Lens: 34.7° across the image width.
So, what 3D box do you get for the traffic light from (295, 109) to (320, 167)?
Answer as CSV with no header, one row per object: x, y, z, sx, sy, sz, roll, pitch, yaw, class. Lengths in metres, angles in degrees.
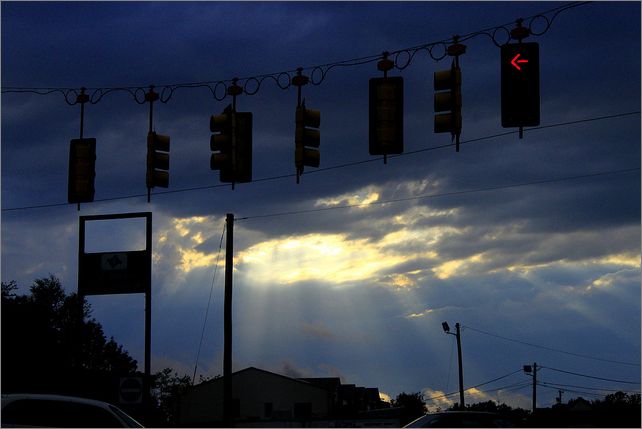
-0.815,-4.667,60.861,1.368,3.734,0.904,7,-11,-24,traffic light
